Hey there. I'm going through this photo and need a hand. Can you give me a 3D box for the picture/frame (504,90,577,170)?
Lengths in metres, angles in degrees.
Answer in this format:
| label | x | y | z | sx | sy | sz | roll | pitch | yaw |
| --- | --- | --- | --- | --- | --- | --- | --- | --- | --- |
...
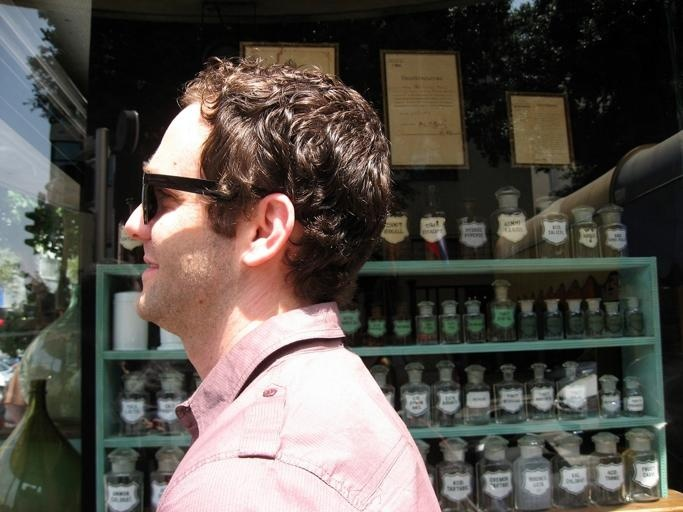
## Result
| label | x | y | z | sx | sy | sz | roll | pitch | yaw |
| --- | --- | --- | --- | --- | --- | --- | --- | --- | --- |
| picture/frame | 0.851 | -0.557 | 3.237 | 0.338 | 0.028 | 0.395 | -1 | 88 | -14 |
